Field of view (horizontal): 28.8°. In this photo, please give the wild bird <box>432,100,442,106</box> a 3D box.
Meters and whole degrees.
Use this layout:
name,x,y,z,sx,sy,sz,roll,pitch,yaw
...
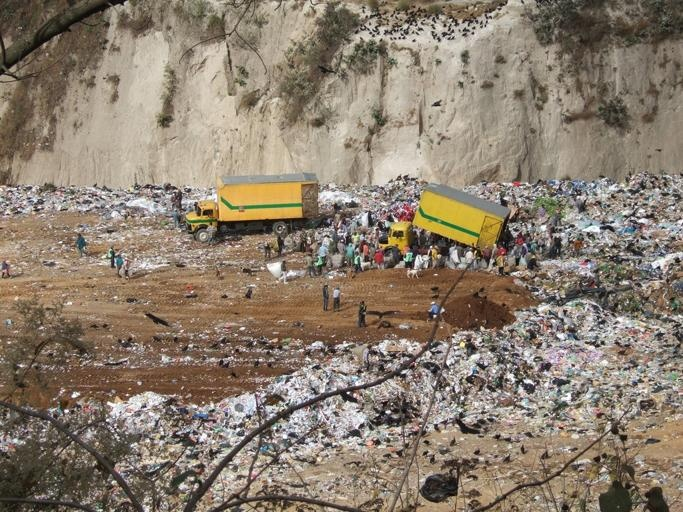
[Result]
name,x,y,z,sx,sy,sz,roll,pitch,yaw
wild bird,5.167,-8.144,70.997,0.517,0.204,0.213,-17,-4,11

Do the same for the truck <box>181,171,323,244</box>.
name,x,y,z,sx,sy,sz,roll,pitch,yaw
truck,-4.632,-2.602,67.627,7.563,4.162,2.946,-2,10,-6

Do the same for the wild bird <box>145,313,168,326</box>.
name,x,y,z,sx,sy,sz,roll,pitch,yaw
wild bird,-8.178,2.817,58.434,0.725,0.212,0.178,31,19,31

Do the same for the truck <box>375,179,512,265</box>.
name,x,y,z,sx,sy,sz,roll,pitch,yaw
truck,5.040,-1.784,62.497,5.244,3.205,3.040,24,24,7

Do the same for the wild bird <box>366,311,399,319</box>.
name,x,y,z,sx,sy,sz,roll,pitch,yaw
wild bird,1.824,2.539,58.055,1.374,0.171,0.641,-1,19,-3
